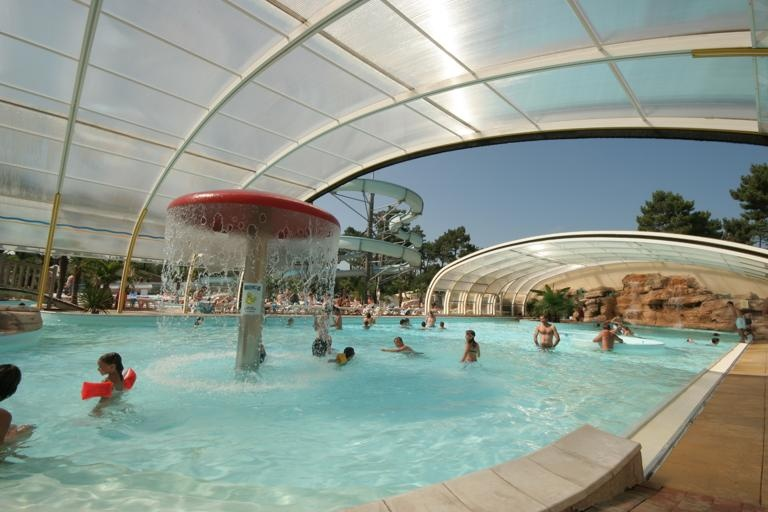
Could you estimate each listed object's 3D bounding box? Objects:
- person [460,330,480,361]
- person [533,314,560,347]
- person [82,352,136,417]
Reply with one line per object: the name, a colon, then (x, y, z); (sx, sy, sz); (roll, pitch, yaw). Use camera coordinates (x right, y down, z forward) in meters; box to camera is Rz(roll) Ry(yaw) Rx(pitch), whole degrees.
person: (2.651, 2.732, 10.951); (0.512, 1.100, 1.628); (4, -2, 14)
person: (6.544, 3.025, 14.554); (0.757, 1.401, 2.161); (4, -2, 23)
person: (-4.983, 2.356, 6.522); (0.432, 0.953, 1.016); (-2, -9, 10)
